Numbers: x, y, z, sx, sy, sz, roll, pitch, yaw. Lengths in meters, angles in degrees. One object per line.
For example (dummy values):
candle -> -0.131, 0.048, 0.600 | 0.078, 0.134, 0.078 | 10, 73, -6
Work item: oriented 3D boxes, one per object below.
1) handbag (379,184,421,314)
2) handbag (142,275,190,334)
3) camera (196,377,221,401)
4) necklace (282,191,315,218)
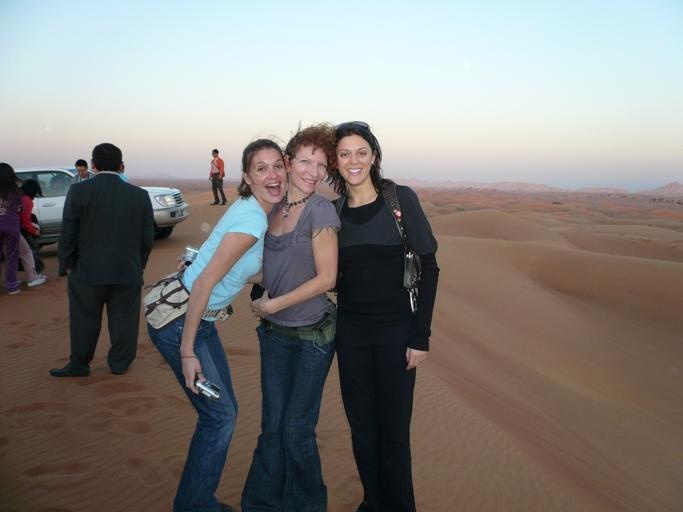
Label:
handbag -> 0.473, -0.085, 3.350 | 0.222, 1.009, 0.474 | -4, 13, -18
handbag -> -1.288, 0.341, 3.030 | 0.418, 0.308, 0.153 | -34, -23, 11
camera -> -0.935, 0.910, 2.901 | 0.188, 0.110, 0.055 | 29, 8, 4
necklace -> -0.355, -0.397, 3.211 | 0.221, 0.119, 0.169 | -38, 19, -30
